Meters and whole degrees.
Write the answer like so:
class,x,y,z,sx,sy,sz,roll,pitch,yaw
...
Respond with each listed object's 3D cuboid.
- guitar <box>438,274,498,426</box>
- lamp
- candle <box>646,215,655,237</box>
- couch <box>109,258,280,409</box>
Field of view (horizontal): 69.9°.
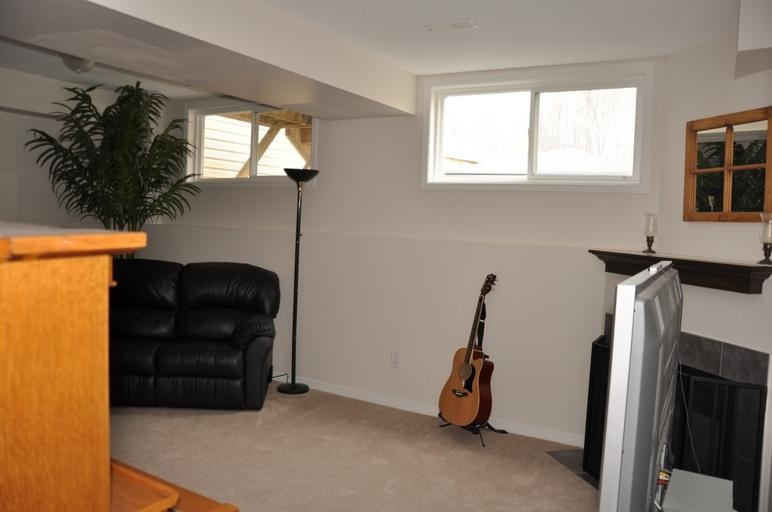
class,x,y,z,sx,sy,sz,roll,pitch,yaw
guitar,0.634,0.719,4.136,0.376,1.103,0.362,1,8,-11
lamp,-0.793,0.219,5.059,0.292,2.025,0.576,3,8,-3
candle,1.779,-0.199,3.725,0.074,0.147,0.060,5,8,14
couch,-1.832,0.685,4.814,1.660,1.137,0.912,1,4,-7
